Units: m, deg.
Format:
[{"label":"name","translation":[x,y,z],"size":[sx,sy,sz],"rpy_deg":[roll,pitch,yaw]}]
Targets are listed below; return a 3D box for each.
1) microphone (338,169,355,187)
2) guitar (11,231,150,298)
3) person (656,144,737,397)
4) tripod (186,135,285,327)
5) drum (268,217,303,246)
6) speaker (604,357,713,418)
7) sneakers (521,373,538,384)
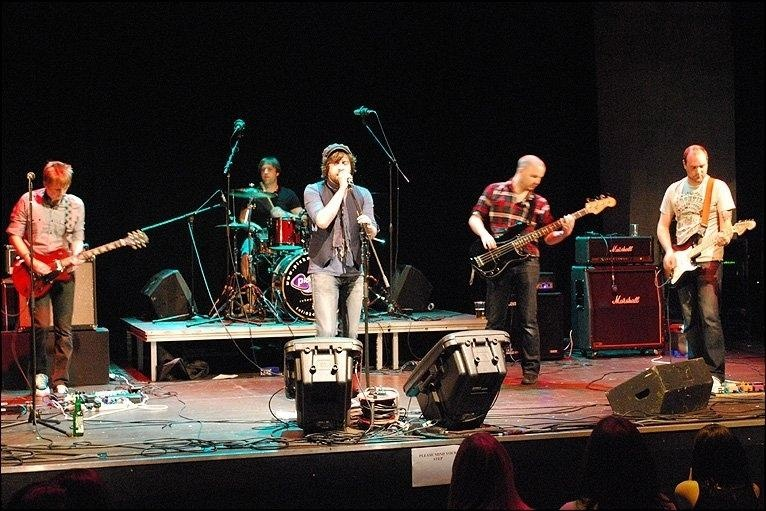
[{"label":"microphone","translation":[-0.272,-0.547,4.790],"size":[0.105,0.106,0.139],"rpy_deg":[-4,-2,-4]},{"label":"guitar","translation":[-2.698,0.092,5.844],"size":[0.979,0.363,0.613],"rpy_deg":[-3,-2,-29]},{"label":"person","translation":[2.765,0.056,5.855],"size":[0.613,2.290,0.482],"rpy_deg":[-6,-2,35]},{"label":"tripod","translation":[-1.655,-0.364,7.541],"size":[1.012,1.599,1.418],"rpy_deg":[-4,-2,-15]},{"label":"drum","translation":[-1.026,-0.225,6.977],"size":[0.322,0.224,0.317],"rpy_deg":[0,-8,0]},{"label":"speaker","translation":[2.060,0.920,4.938],"size":[0.576,0.343,0.458],"rpy_deg":[5,0,-41]},{"label":"sneakers","translation":[1.312,1.119,5.952],"size":[0.166,0.062,0.064],"rpy_deg":[-2,14,-25]}]
